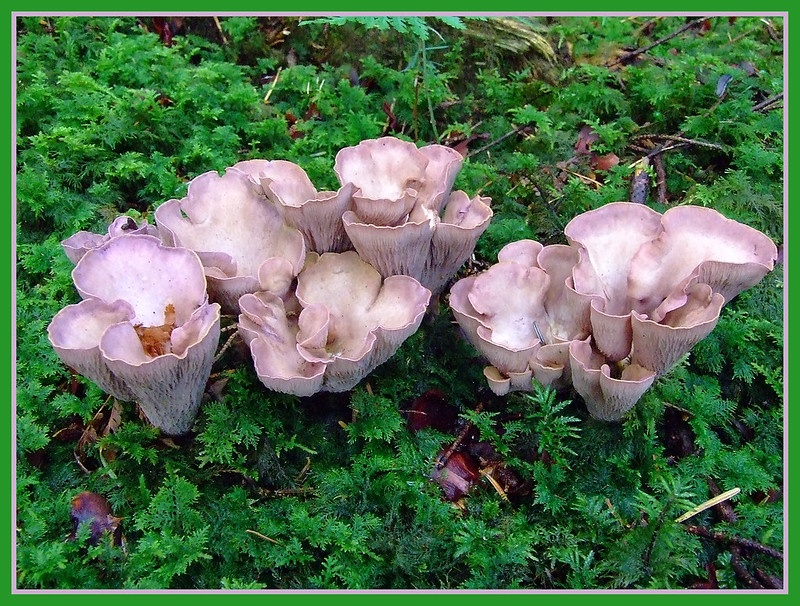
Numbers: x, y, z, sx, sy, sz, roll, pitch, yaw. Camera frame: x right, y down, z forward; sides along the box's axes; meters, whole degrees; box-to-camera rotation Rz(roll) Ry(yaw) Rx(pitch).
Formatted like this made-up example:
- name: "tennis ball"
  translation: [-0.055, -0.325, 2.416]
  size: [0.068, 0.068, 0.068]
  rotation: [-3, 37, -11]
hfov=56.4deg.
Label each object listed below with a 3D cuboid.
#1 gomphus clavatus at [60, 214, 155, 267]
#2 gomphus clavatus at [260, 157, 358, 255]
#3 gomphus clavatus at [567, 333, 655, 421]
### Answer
- name: "gomphus clavatus"
  translation: [-1.969, -0.413, 5.052]
  size: [0.459, 0.180, 0.407]
  rotation: [-2, 31, 24]
- name: "gomphus clavatus"
  translation: [-0.540, -0.543, 5.187]
  size: [0.574, 0.434, 0.696]
  rotation: [0, -8, -42]
- name: "gomphus clavatus"
  translation: [1.417, 0.583, 4.947]
  size: [0.453, 0.470, 0.494]
  rotation: [-17, 24, -27]
